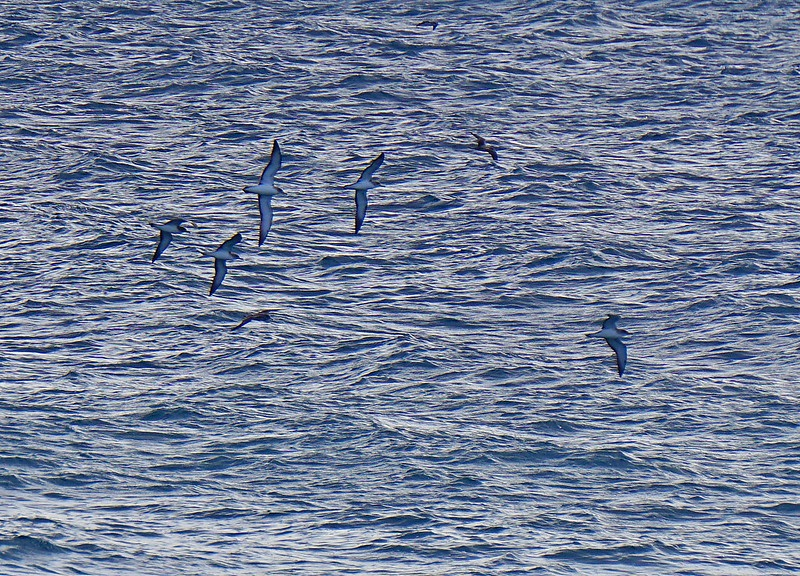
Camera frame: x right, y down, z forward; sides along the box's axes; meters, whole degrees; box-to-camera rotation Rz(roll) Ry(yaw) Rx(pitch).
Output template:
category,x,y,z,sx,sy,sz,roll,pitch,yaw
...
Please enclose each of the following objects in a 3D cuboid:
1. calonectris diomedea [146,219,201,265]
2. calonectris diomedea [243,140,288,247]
category,x,y,z,sx,sy,sz,roll,pitch,yaw
calonectris diomedea,-6.260,-1.586,47.848,0.186,1.563,1.452,-3,66,54
calonectris diomedea,-2.635,-2.527,45.951,2.299,1.488,2.554,-3,110,-8
